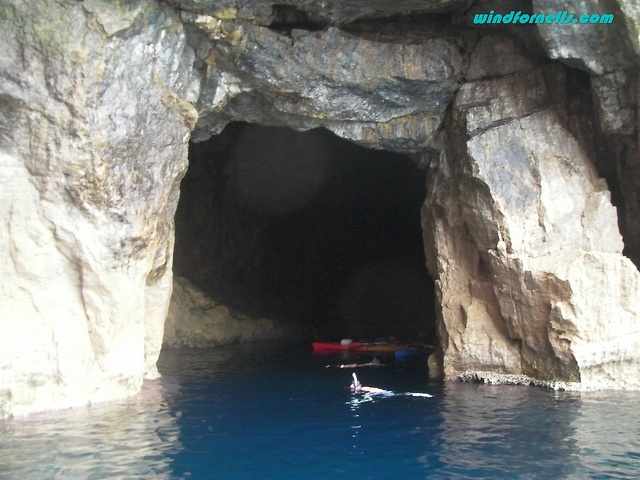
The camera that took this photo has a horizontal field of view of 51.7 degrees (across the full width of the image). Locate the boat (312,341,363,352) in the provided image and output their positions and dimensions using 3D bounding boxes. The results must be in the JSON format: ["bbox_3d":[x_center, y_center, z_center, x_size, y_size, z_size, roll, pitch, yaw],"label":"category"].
[{"bbox_3d":[0.445,2.904,18.255,1.387,0.401,0.225,3,-47,-22],"label":"boat"}]
